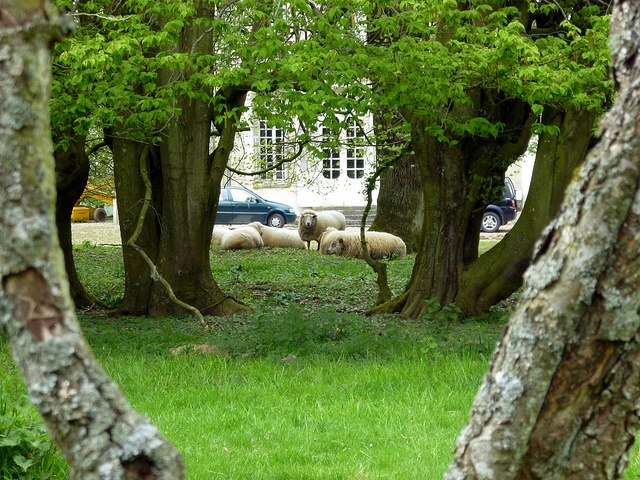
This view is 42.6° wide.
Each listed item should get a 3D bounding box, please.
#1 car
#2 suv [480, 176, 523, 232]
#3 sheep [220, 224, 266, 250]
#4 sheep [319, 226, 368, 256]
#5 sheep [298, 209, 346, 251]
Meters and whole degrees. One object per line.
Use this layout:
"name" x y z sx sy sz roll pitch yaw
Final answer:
"car" -2.126 -1.096 27.440 2.463 1.122 1.208 -2 4 -11
"suv" 5.810 -1.150 26.451 0.992 1.687 3.317 1 6 15
"sheep" -1.922 0.006 20.403 0.523 0.519 0.940 -29 1 26
"sheep" 0.420 0.035 19.094 0.800 0.647 0.414 3 -3 -23
"sheep" 0.021 -0.396 21.893 0.579 1.173 2.211 -3 -5 17
